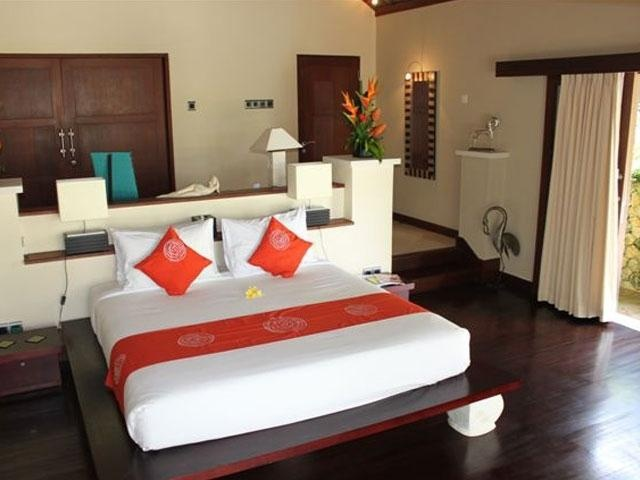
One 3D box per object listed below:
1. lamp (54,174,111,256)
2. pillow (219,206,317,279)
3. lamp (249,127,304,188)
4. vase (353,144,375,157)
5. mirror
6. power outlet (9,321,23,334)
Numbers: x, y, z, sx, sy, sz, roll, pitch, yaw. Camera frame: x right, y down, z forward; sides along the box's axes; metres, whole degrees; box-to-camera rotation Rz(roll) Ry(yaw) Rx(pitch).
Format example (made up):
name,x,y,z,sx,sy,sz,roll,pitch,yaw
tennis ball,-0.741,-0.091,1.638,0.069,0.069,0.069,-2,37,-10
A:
name,x,y,z,sx,sy,sz,roll,pitch,yaw
lamp,-2.156,-0.219,4.263,0.437,0.677,0.295,-12,17,-29
pillow,-0.668,-0.001,4.447,0.850,0.648,0.254,-5,-7,-23
lamp,-0.436,-0.940,5.278,0.611,0.839,0.590,-9,17,-32
vase,0.491,-1.014,5.347,0.153,0.162,0.159,0,7,-10
mirror,1.531,-1.754,7.158,0.244,1.577,0.676,-14,18,-36
power outlet,-2.660,0.764,4.065,0.081,0.065,0.083,-1,1,-14
